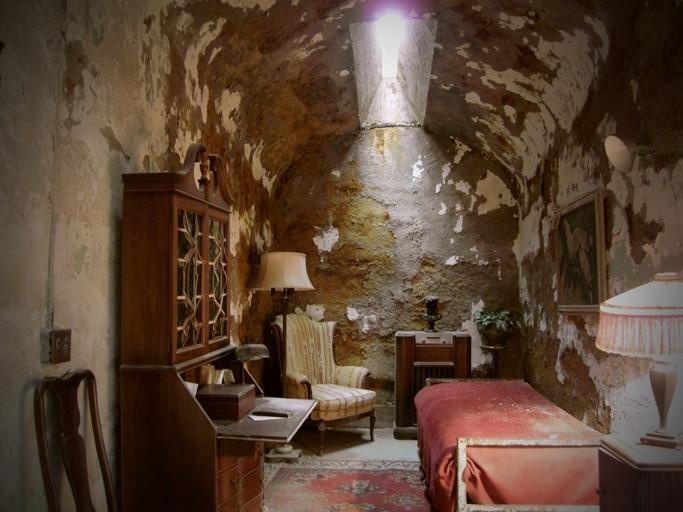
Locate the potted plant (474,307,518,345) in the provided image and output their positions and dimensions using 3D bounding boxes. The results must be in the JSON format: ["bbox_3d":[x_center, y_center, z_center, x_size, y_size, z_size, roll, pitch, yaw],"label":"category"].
[{"bbox_3d":[1.578,0.711,5.792,0.354,0.330,0.370,0,-7,-5],"label":"potted plant"}]

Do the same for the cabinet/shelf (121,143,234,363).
[{"bbox_3d":[-0.918,-0.023,3.365,0.354,1.269,0.738,-4,-6,29],"label":"cabinet/shelf"}]
